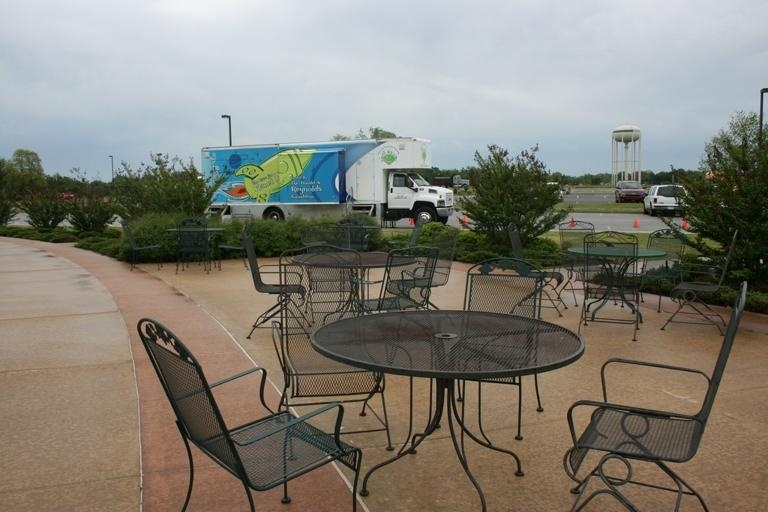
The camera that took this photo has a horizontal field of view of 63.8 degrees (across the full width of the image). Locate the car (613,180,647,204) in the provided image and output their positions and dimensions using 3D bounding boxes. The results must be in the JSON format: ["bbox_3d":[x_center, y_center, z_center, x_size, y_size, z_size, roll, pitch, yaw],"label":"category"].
[{"bbox_3d":[14.850,-3.906,37.823,1.076,0.857,2.152,-1,3,11],"label":"car"}]

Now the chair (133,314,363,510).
[{"bbox_3d":[-1.072,1.286,4.920,1.140,1.522,0.814,-16,27,-36],"label":"chair"}]
